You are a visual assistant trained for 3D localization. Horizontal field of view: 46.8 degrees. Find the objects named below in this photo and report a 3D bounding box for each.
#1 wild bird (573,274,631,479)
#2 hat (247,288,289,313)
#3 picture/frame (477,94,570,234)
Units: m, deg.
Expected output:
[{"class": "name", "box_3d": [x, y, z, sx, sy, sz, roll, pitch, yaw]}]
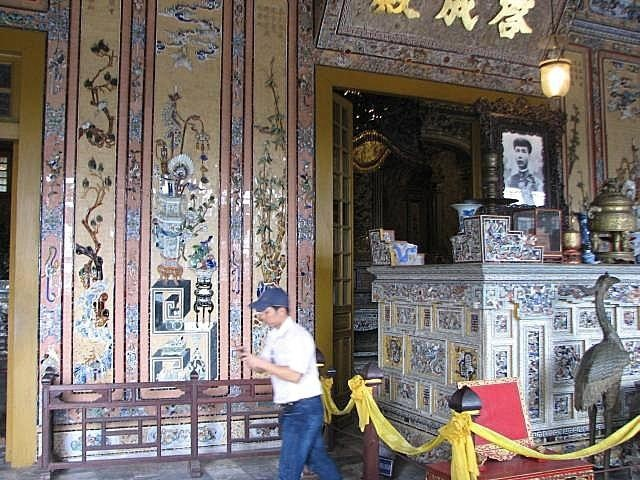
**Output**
[{"class": "wild bird", "box_3d": [2.356, 1.108, 6.143, 0.421, 1.684, 0.698, -4, -9, 24]}, {"class": "hat", "box_3d": [-0.351, 0.429, 5.262, 0.223, 0.119, 0.160, 3, -3, -9]}, {"class": "picture/frame", "box_3d": [2.249, -0.977, 8.200, 1.132, 1.195, 0.176, 2, -9, -18]}]
